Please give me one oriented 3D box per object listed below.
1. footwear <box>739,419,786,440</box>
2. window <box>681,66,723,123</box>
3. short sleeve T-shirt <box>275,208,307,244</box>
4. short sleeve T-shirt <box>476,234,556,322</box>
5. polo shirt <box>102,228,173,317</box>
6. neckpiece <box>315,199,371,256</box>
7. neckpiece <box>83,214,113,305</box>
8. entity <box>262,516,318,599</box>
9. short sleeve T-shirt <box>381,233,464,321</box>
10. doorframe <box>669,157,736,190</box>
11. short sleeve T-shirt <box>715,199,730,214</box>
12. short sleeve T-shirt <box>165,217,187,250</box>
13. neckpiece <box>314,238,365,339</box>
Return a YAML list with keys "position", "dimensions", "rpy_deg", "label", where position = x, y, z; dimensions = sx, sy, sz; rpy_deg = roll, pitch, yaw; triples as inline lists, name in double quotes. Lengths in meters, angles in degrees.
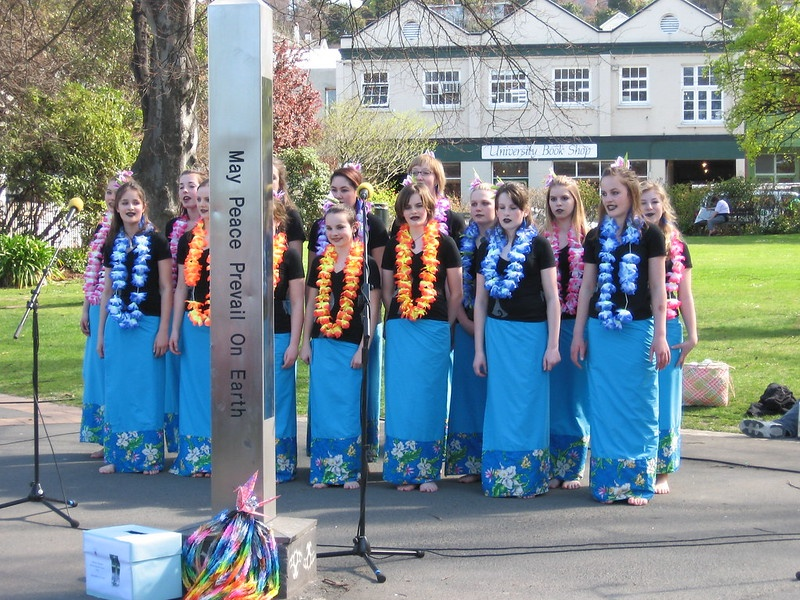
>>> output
- position: [3.864, 1.385, 13.073]
  dimensions: [0.457, 0.179, 0.213]
  rpy_deg: [5, 3, 32]
  label: "footwear"
- position: [9.788, -6.749, 39.615]
  dimensions: [1.359, 1.943, 0.063]
  rpy_deg: [0, -5, 7]
  label: "window"
- position: [-1.079, -0.750, 12.202]
  dimensions: [0.270, 0.509, 0.380]
  rpy_deg: [-4, -2, 1]
  label: "short sleeve T-shirt"
- position: [1.078, -0.202, 11.796]
  dimensions: [0.900, 0.926, 0.484]
  rpy_deg: [-3, -9, 21]
  label: "short sleeve T-shirt"
- position: [-2.613, -0.250, 12.156]
  dimensions: [0.769, 1.068, 0.371]
  rpy_deg: [-1, -6, -3]
  label: "polo shirt"
- position: [-0.615, -0.746, 11.965]
  dimensions: [0.480, 0.682, 0.295]
  rpy_deg: [0, 0, 8]
  label: "neckpiece"
- position: [-3.155, -0.351, 12.647]
  dimensions: [0.287, 1.132, 0.332]
  rpy_deg: [1, -14, 3]
  label: "neckpiece"
- position: [-0.894, 2.074, 10.278]
  dimensions: [0.482, 0.711, 0.717]
  rpy_deg: [-2, 0, 18]
  label: "entity"
- position: [0.353, -0.335, 11.986]
  dimensions: [0.433, 0.856, 0.731]
  rpy_deg: [6, 8, -34]
  label: "short sleeve T-shirt"
- position: [10.772, -4.698, 44.193]
  dimensions: [1.644, 0.447, 1.841]
  rpy_deg: [-3, 1, -4]
  label: "doorframe"
- position: [9.207, -2.698, 35.010]
  dimensions: [0.211, 0.343, 0.396]
  rpy_deg: [-12, 11, -13]
  label: "short sleeve T-shirt"
- position: [-2.260, -0.694, 12.532]
  dimensions: [0.121, 0.302, 0.273]
  rpy_deg: [10, -13, -42]
  label: "short sleeve T-shirt"
- position: [-0.574, -0.115, 11.922]
  dimensions: [0.433, 1.035, 0.243]
  rpy_deg: [-2, -15, 30]
  label: "neckpiece"
